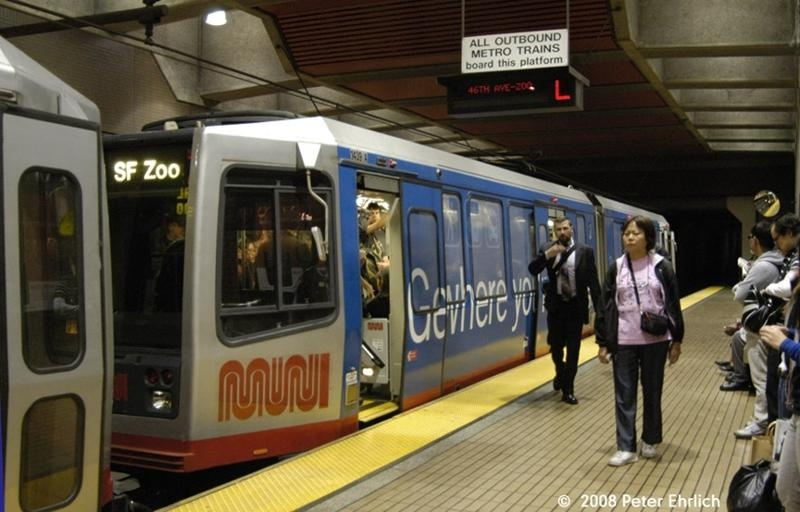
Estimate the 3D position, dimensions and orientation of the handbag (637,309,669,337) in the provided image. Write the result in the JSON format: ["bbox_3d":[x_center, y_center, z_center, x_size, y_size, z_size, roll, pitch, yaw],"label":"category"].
[{"bbox_3d":[2.678,0.700,6.357,0.334,0.287,0.237,5,-7,-26],"label":"handbag"}]

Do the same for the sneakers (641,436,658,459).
[{"bbox_3d":[2.772,2.149,6.633,0.126,0.123,0.293,-1,-7,15],"label":"sneakers"}]

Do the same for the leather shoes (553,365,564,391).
[{"bbox_3d":[2.323,1.782,8.711,0.119,0.364,0.145,5,-7,20],"label":"leather shoes"}]

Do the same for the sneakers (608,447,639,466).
[{"bbox_3d":[2.369,2.155,6.393,0.357,0.152,0.127,0,0,-13],"label":"sneakers"}]

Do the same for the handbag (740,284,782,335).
[{"bbox_3d":[3.897,0.607,6.411,0.349,0.462,1.053,0,-1,36],"label":"handbag"}]

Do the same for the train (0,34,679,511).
[{"bbox_3d":[-0.679,0.337,8.880,2.985,2.929,11.266,-2,-1,29],"label":"train"}]

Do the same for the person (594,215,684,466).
[{"bbox_3d":[2.598,0.893,6.486,0.808,2.634,0.486,0,4,-16],"label":"person"}]
